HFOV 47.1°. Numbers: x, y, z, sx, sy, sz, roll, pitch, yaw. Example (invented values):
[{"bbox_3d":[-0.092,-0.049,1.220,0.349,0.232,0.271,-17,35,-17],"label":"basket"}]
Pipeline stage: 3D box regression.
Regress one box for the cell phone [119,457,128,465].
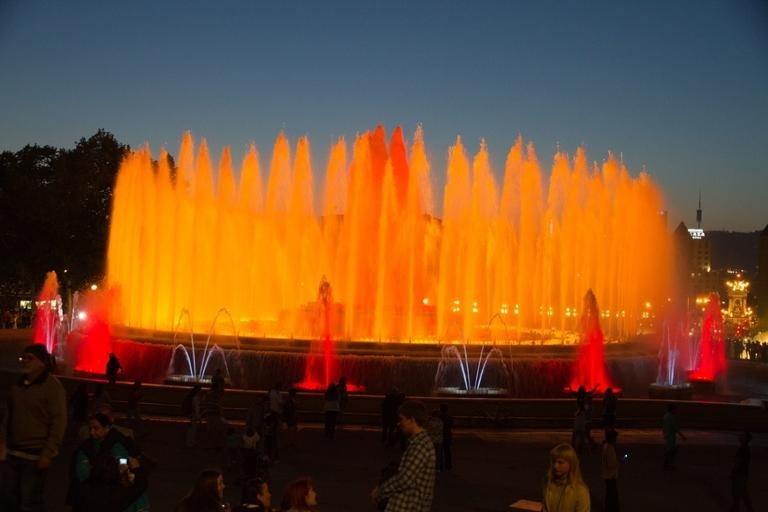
[{"bbox_3d":[-4.480,3.496,15.093,0.116,0.121,0.042,8,-10,-15],"label":"cell phone"}]
